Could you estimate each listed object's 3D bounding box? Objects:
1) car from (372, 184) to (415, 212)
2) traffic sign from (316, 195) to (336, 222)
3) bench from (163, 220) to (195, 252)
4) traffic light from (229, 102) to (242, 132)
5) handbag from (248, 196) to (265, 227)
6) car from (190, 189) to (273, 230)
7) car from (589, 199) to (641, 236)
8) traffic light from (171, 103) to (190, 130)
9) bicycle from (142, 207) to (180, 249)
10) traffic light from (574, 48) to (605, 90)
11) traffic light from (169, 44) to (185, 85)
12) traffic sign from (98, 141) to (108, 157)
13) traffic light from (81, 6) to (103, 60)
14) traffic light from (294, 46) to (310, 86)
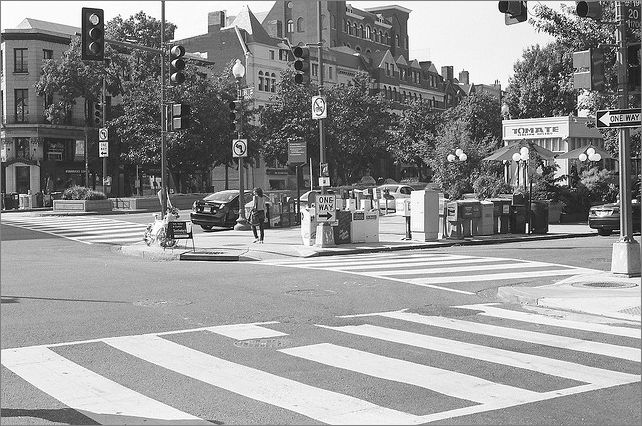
[{"bbox_3d":[4.715,-0.967,50.256,1.597,1.299,3.792,1,5,30],"label":"car"},{"bbox_3d":[0.140,-0.166,26.279,0.845,1.154,0.120,-2,7,-14],"label":"traffic sign"},{"bbox_3d":[-4.767,0.720,26.599,1.055,0.962,0.812,-1,9,4],"label":"bench"},{"bbox_3d":[-3.214,-3.669,28.935,0.422,1.135,0.657,-1,0,-10],"label":"traffic light"},{"bbox_3d":[-2.403,-0.093,28.837,0.555,1.090,0.805,-1,0,-9],"label":"handbag"},{"bbox_3d":[-4.021,-0.131,35.425,1.681,1.228,3.689,0,6,34],"label":"car"},{"bbox_3d":[11.997,0.242,31.240,1.946,1.382,1.884,-1,0,-31],"label":"car"},{"bbox_3d":[-4.942,-3.440,27.161,0.456,0.933,0.927,-1,0,-33],"label":"traffic light"},{"bbox_3d":[-5.773,0.590,27.374,0.993,1.157,1.802,13,-6,-34],"label":"bicycle"},{"bbox_3d":[6.563,-3.499,18.770,0.701,1.049,0.664,0,0,19],"label":"traffic light"},{"bbox_3d":[-4.918,-5.100,26.208,0.462,1.411,1.096,-1,0,-14],"label":"traffic light"},{"bbox_3d":[-14.323,-4.199,50.454,0.397,0.985,1.027,-1,0,-28],"label":"traffic sign"},{"bbox_3d":[-6.694,-5.255,22.463,0.606,1.461,0.508,-1,0,-21],"label":"traffic light"},{"bbox_3d":[-0.616,-4.797,24.612,0.494,1.380,1.652,-1,0,-3],"label":"traffic light"}]
